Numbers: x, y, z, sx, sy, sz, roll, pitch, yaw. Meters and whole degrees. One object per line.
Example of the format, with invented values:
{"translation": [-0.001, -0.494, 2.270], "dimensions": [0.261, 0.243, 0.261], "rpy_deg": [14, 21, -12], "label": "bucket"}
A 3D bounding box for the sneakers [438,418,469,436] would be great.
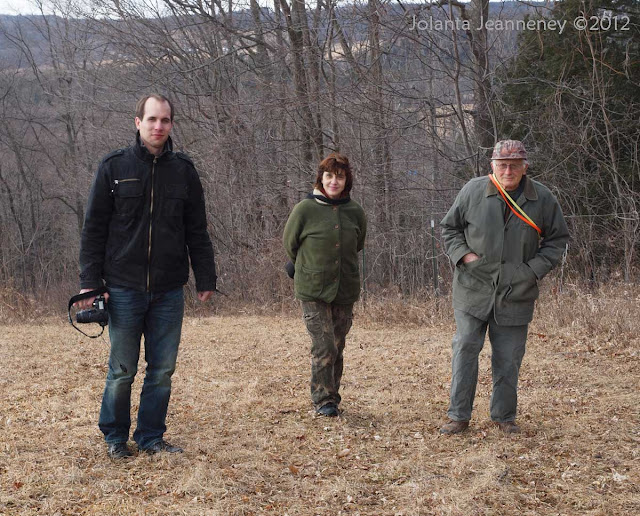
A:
{"translation": [1.445, 1.848, 8.487], "dimensions": [0.269, 0.135, 0.159], "rpy_deg": [-2, -1, 5], "label": "sneakers"}

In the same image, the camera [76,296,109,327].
{"translation": [-2.305, 0.538, 7.849], "dimensions": [0.273, 0.295, 0.289], "rpy_deg": [1, -1, -10], "label": "camera"}

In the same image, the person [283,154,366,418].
{"translation": [0.049, 0.328, 8.911], "dimensions": [0.919, 2.990, 0.515], "rpy_deg": [0, 6, -3], "label": "person"}

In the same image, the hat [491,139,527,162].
{"translation": [1.996, -1.130, 8.228], "dimensions": [0.335, 0.214, 0.220], "rpy_deg": [1, 7, 11], "label": "hat"}

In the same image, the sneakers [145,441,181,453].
{"translation": [-1.658, 1.957, 8.105], "dimensions": [0.311, 0.153, 0.154], "rpy_deg": [-1, 2, 0], "label": "sneakers"}
